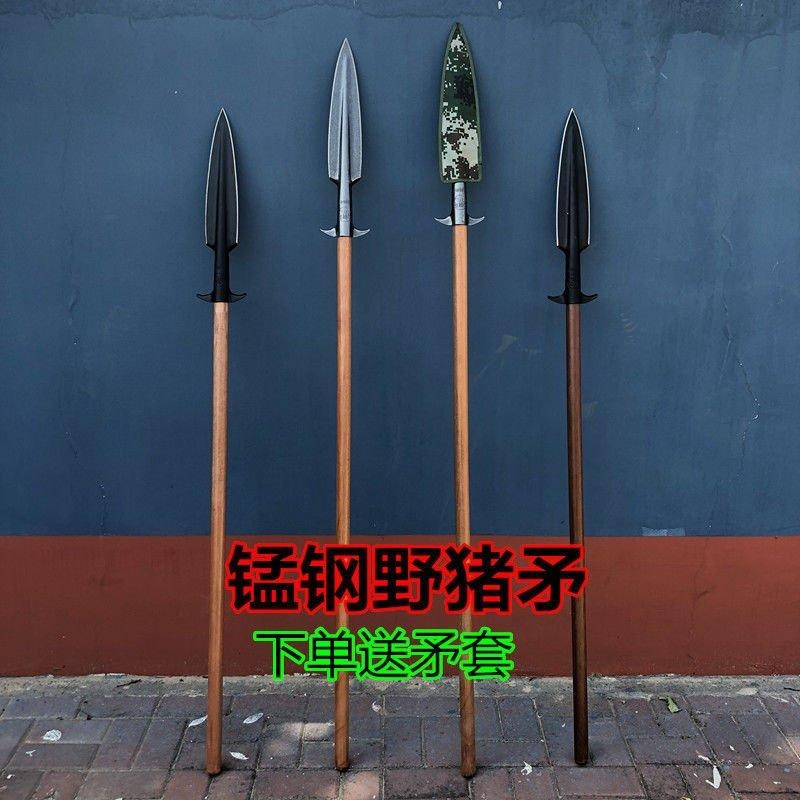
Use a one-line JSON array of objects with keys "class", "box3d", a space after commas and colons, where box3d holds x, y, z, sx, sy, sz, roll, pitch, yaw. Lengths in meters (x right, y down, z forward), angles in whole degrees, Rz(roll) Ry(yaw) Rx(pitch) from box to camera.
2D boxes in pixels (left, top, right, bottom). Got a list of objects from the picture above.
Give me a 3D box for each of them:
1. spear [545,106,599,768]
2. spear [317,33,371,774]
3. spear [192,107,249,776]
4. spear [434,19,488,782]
[{"class": "spear", "box3d": [0.628, 0.101, 3.901, 0.151, 2.318, 0.310, -1, -1, 11]}, {"class": "spear", "box3d": [-0.184, -0.016, 3.862, 0.145, 2.568, 0.289, 0, -1, -3]}, {"class": "spear", "box3d": [-0.642, 0.112, 3.864, 0.142, 2.340, 0.306, 0, -1, -11]}, {"class": "spear", "box3d": [0.219, -0.031, 3.862, 0.165, 2.642, 0.324, -1, -1, 4]}]
